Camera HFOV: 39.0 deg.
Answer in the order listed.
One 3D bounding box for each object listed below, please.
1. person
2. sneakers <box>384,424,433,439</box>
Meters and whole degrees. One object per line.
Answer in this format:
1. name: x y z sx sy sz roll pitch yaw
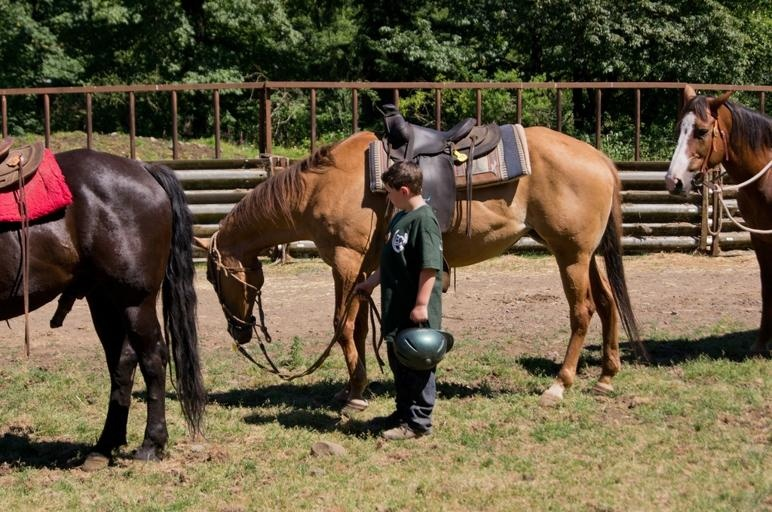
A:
1. person: 0.303 0.606 14.802 0.912 3.760 0.569 0 7 2
2. sneakers: 0.307 2.378 15.044 0.636 0.265 0.232 3 -4 -5
